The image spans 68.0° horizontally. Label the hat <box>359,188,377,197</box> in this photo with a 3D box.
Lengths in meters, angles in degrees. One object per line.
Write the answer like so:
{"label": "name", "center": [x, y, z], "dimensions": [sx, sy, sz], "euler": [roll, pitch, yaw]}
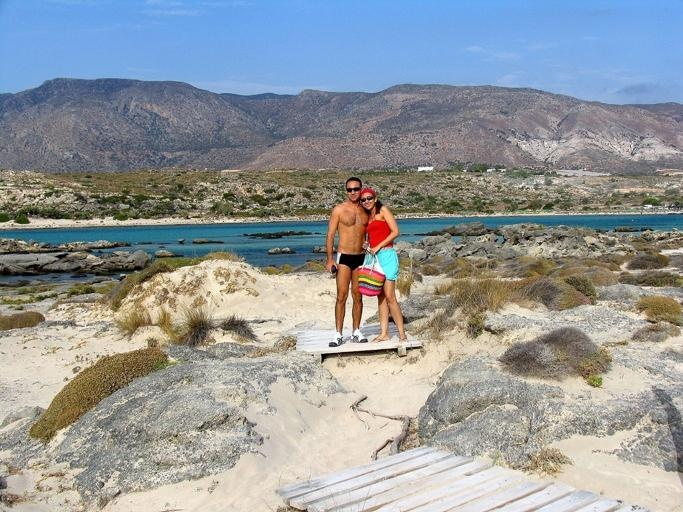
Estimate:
{"label": "hat", "center": [0.463, -1.081, 8.619], "dimensions": [0.165, 0.117, 0.163], "euler": [5, 8, 18]}

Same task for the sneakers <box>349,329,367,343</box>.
{"label": "sneakers", "center": [0.294, 1.472, 9.146], "dimensions": [0.144, 0.166, 0.371], "euler": [1, -8, -27]}

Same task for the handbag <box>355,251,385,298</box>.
{"label": "handbag", "center": [0.509, 0.329, 8.642], "dimensions": [0.499, 0.755, 0.290], "euler": [-1, 12, 15]}

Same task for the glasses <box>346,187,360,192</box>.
{"label": "glasses", "center": [0.221, -1.104, 8.483], "dimensions": [0.274, 0.090, 0.138], "euler": [-9, 12, -28]}
